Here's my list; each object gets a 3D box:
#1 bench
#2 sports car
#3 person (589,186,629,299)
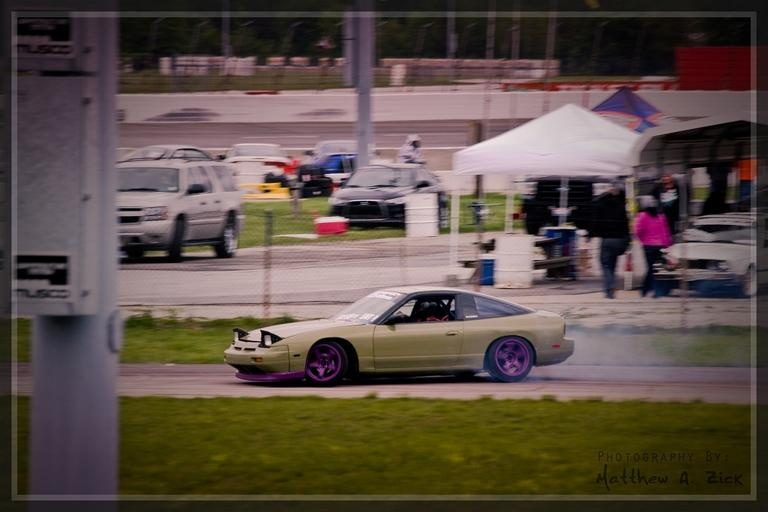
[{"bbox_3d":[2.139,0.062,27.747,2.294,0.918,0.969,-3,5,-38],"label":"bench"},{"bbox_3d":[0.430,1.175,23.026,6.848,1.219,1.674,0,1,-6],"label":"sports car"},{"bbox_3d":[3.931,-0.257,26.806,0.868,1.766,0.797,3,2,27],"label":"person"}]
